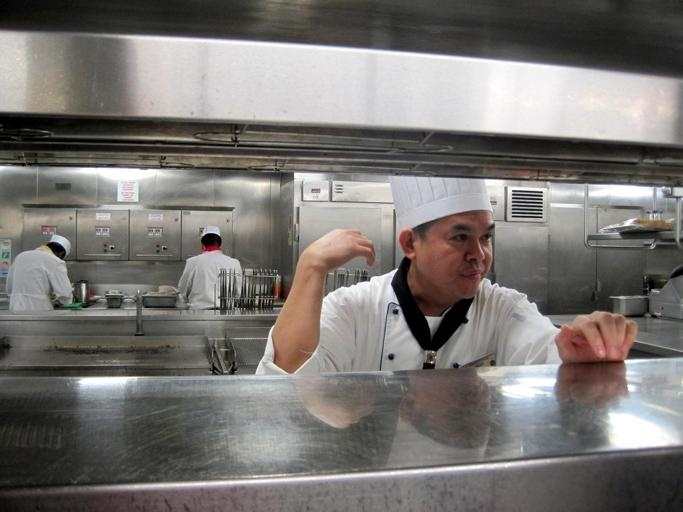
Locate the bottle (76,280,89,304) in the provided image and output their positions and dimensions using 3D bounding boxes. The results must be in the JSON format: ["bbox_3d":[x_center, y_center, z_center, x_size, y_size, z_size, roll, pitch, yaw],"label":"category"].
[{"bbox_3d":[-2.556,0.360,5.506,0.111,0.218,0.343,1,-2,-27],"label":"bottle"}]

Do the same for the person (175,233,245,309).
[{"bbox_3d":[-1.173,0.116,5.086,0.537,0.742,0.486,2,-4,4],"label":"person"}]

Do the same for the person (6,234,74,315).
[{"bbox_3d":[-2.664,0.131,4.982,0.478,0.674,0.911,1,-2,-29],"label":"person"}]

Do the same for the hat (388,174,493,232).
[{"bbox_3d":[0.316,-0.137,1.759,0.192,0.150,0.238,-2,-9,-23],"label":"hat"}]

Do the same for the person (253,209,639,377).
[{"bbox_3d":[0.537,0.118,2.778,0.983,0.545,1.318,2,-18,-4],"label":"person"}]

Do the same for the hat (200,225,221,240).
[{"bbox_3d":[-1.259,-0.238,5.382,0.233,0.107,0.325,1,-1,-11],"label":"hat"}]

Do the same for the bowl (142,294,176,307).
[{"bbox_3d":[-1.451,0.365,4.483,0.185,0.057,0.140,3,-2,-7],"label":"bowl"}]
